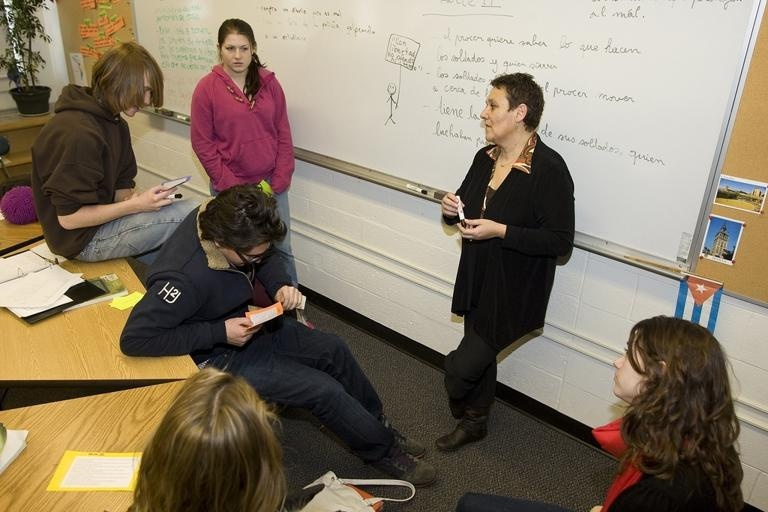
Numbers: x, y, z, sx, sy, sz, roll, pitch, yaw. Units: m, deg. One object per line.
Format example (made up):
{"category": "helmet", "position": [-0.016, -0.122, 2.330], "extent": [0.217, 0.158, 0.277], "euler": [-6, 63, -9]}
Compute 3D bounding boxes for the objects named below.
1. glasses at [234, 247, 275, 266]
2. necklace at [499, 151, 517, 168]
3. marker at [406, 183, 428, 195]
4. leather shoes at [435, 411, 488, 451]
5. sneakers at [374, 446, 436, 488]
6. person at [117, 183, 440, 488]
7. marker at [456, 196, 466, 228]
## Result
{"category": "glasses", "position": [-0.673, 0.010, 2.504], "extent": [0.113, 0.034, 0.120], "euler": [-18, 51, -36]}
{"category": "necklace", "position": [0.692, -0.526, 2.794], "extent": [0.039, 0.097, 0.094], "euler": [-12, 40, -44]}
{"category": "marker", "position": [0.226, -0.444, 3.327], "extent": [0.096, 0.027, 0.035], "euler": [30, 22, 19]}
{"category": "leather shoes", "position": [0.485, 1.092, 3.097], "extent": [0.275, 0.202, 0.102], "euler": [-11, 33, -15]}
{"category": "sneakers", "position": [0.142, 1.152, 2.854], "extent": [0.433, 0.194, 0.168], "euler": [11, 48, 10]}
{"category": "person", "position": [-0.448, 0.429, 2.662], "extent": [1.460, 1.512, 0.933], "euler": [8, 26, 20]}
{"category": "marker", "position": [0.430, -0.248, 2.845], "extent": [0.031, 0.026, 0.231], "euler": [-5, 59, -3]}
